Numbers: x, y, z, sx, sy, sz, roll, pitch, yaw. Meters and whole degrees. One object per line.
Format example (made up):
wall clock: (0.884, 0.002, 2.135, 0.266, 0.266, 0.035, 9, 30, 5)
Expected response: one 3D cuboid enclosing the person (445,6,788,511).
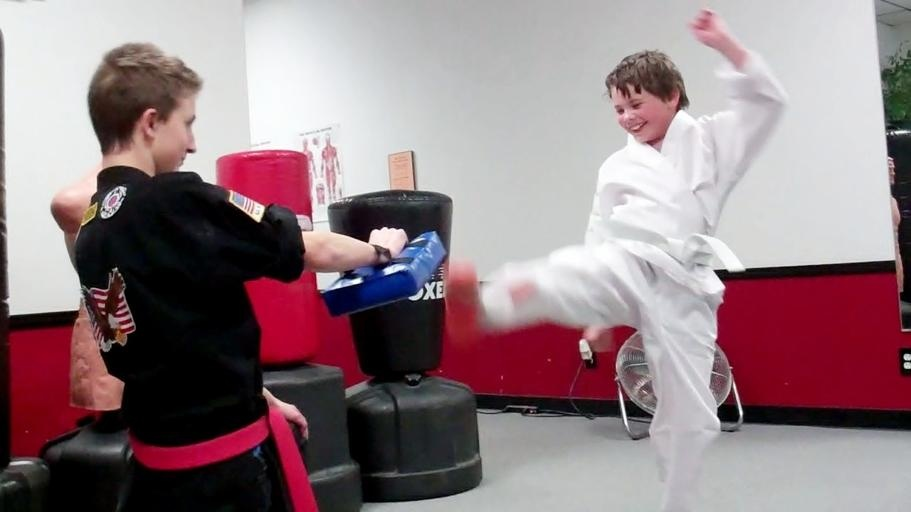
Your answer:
person: (0.906, 0.029, 3.589, 1.355, 2.449, 0.858, -9, 8, -36)
